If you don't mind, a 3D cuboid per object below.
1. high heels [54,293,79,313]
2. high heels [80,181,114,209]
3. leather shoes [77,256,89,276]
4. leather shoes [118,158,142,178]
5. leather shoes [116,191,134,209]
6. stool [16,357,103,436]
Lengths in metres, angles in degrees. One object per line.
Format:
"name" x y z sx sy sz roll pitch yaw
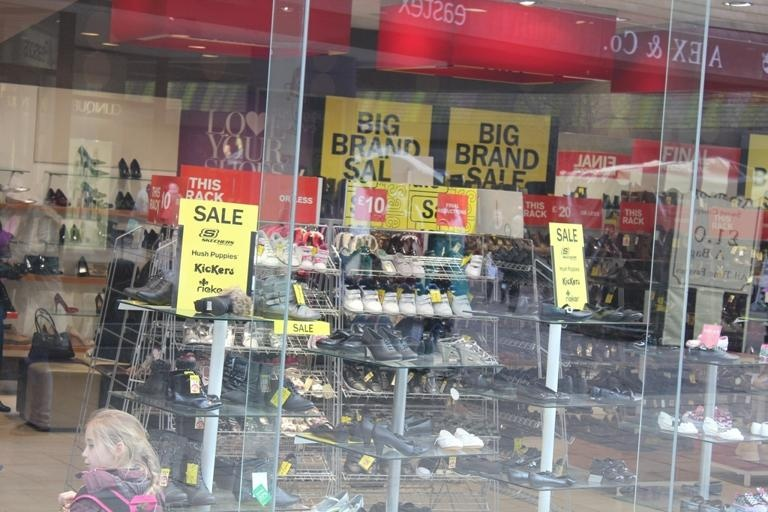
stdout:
"high heels" -3.091 0.467 8.828 0.290 0.238 0.118 4 3 -3
"high heels" -2.832 -0.609 8.933 0.472 0.208 0.149 0 -2 -1
"leather shoes" -2.969 0.108 8.834 0.075 0.257 0.100 0 -4 -3
"leather shoes" -2.535 -0.881 8.949 0.149 0.105 0.258 -3 12 -26
"leather shoes" -2.572 -0.548 8.801 0.136 0.200 0.069 3 11 -1
"stool" -3.195 1.345 8.787 0.681 0.639 0.693 2 2 -10
